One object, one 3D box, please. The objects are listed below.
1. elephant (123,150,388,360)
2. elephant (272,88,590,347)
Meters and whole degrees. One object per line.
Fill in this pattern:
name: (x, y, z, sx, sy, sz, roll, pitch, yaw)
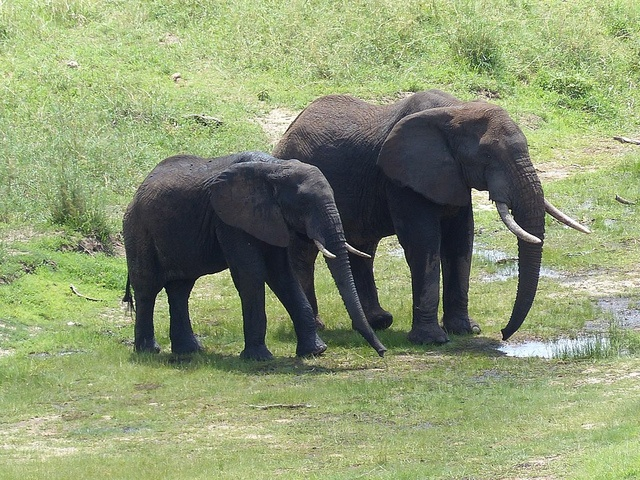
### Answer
elephant: (-1.070, 0.302, 15.630, 3.878, 2.781, 1.853, -2, 1, 24)
elephant: (1.439, -0.254, 16.262, 4.859, 3.380, 2.233, 2, 5, 38)
